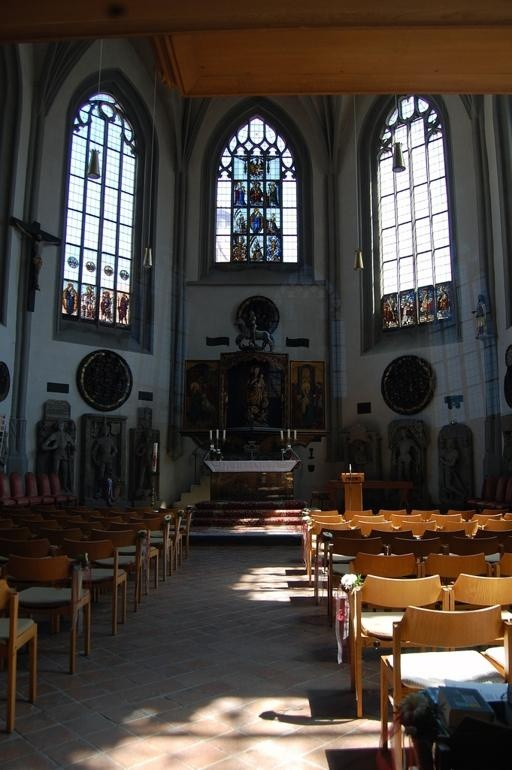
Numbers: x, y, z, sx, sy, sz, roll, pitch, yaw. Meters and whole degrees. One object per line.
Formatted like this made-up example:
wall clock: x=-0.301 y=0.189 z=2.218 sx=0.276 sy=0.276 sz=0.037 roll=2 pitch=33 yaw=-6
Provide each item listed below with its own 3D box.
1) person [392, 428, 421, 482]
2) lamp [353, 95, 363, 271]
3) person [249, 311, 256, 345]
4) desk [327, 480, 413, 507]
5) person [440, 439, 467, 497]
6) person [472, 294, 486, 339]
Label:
person: x=3.753 y=1.859 z=16.128 sx=0.788 sy=1.918 sz=0.287 roll=-4 pitch=28 yaw=9
lamp: x=2.971 y=-5.970 z=18.692 sx=0.198 sy=5.313 sz=0.453 roll=-2 pitch=-7 yaw=9
person: x=-0.083 y=-1.471 z=16.546 sx=0.118 sy=0.908 sz=0.339 roll=-1 pitch=-7 yaw=4
desk: x=2.829 y=2.683 z=15.669 sx=2.154 sy=0.680 sz=1.981 roll=-8 pitch=-9 yaw=44
person: x=4.610 y=1.993 z=14.962 sx=0.151 sy=1.383 sz=0.576 roll=3 pitch=-8 yaw=-32
person: x=5.131 y=-1.598 z=14.485 sx=0.234 sy=1.093 sz=0.742 roll=-2 pitch=-7 yaw=11
